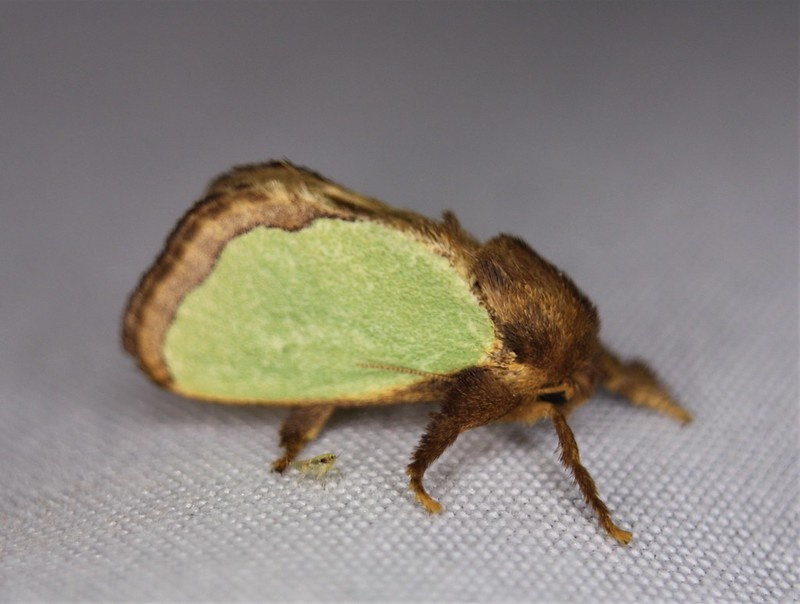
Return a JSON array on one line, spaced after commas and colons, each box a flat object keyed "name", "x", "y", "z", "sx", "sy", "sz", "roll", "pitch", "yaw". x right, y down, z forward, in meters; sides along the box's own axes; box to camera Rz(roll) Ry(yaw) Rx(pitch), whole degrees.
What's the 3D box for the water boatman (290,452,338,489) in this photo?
[{"name": "water boatman", "x": -0.129, "y": 0.256, "z": 1.266, "sx": 0.062, "sy": 0.020, "sz": 0.045, "roll": 0, "pitch": 6, "yaw": 34}]
